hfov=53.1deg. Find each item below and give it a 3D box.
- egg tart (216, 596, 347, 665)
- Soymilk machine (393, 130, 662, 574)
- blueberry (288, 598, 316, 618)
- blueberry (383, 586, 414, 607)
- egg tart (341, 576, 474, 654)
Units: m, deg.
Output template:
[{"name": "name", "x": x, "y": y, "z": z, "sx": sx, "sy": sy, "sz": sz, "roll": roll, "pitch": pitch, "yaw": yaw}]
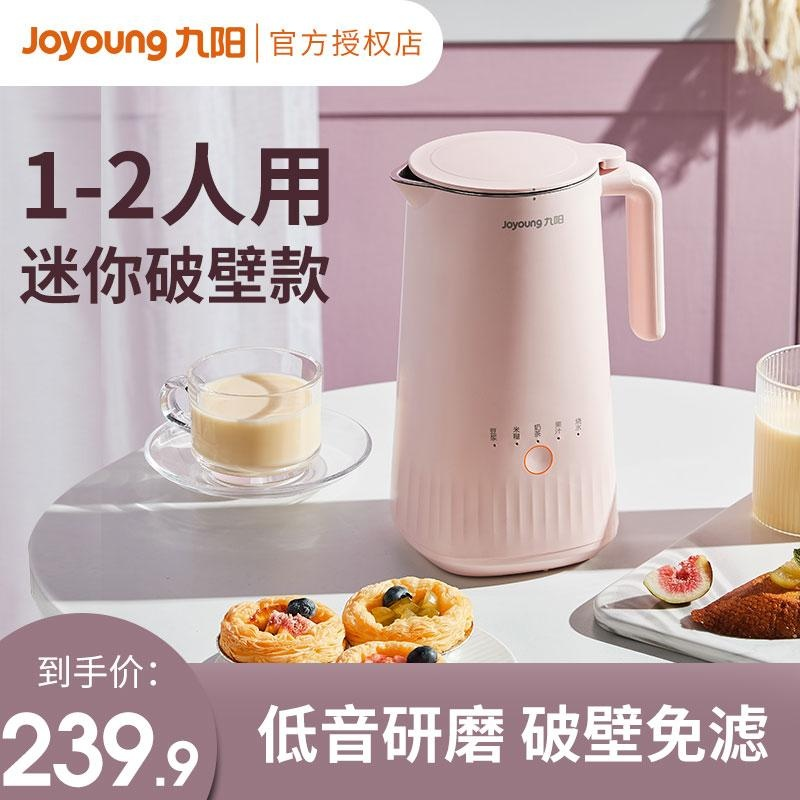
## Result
[{"name": "egg tart", "x": -0.063, "y": 0.124, "z": 0.429, "sx": 0.061, "sy": 0.030, "sz": 0.043, "roll": -16, "pitch": 32, "yaw": -29}, {"name": "Soymilk machine", "x": 0.098, "y": -0.033, "z": 0.513, "sx": 0.220, "sy": 0.278, "sz": 0.115, "roll": -8, "pitch": 13, "yaw": -34}, {"name": "blueberry", "x": -0.054, "y": 0.115, "z": 0.442, "sx": 0.013, "sy": 0.010, "sz": 0.010, "roll": 9, "pitch": 52, "yaw": -1}, {"name": "blueberry", "x": -0.001, "y": 0.109, "z": 0.446, "sx": 0.013, "sy": 0.010, "sz": 0.010, "roll": 6, "pitch": 6, "yaw": 1}, {"name": "egg tart", "x": 0.007, "y": 0.116, "z": 0.437, "sx": 0.067, "sy": 0.030, "sz": 0.057, "roll": -3, "pitch": 28, "yaw": -6}]
